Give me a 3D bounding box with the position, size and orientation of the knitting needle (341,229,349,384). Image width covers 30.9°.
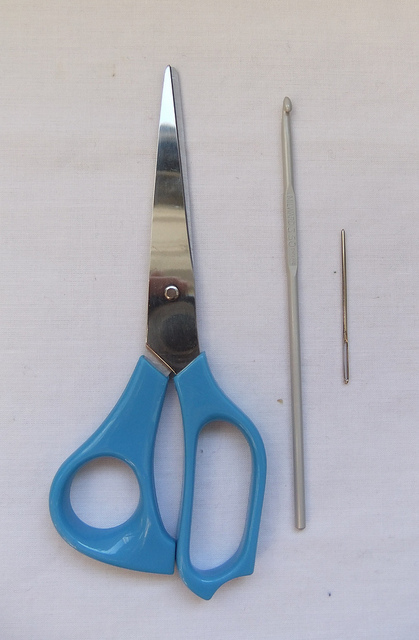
[{"bbox_3d":[0.127,-0.013,0.725,0.005,0.146,0.005,-2,-3,31],"label":"knitting needle"}]

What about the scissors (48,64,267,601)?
[{"bbox_3d":[-0.049,0.004,0.694,0.191,0.481,0.047,-1,-2,0],"label":"scissors"}]
